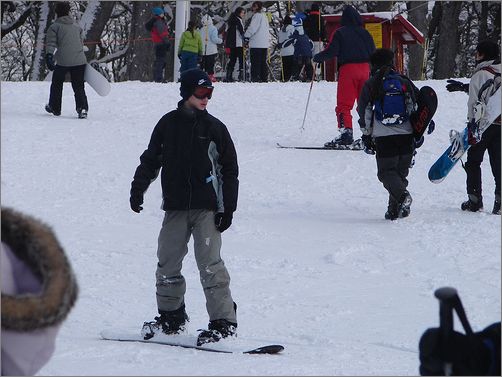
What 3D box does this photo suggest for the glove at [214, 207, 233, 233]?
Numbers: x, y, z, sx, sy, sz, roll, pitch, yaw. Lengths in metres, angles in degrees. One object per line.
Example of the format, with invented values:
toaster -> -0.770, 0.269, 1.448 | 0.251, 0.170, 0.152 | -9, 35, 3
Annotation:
glove -> -0.173, 0.204, 4.030 | 0.052, 0.132, 0.100 | 12, -6, -18

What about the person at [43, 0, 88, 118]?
person -> -3.238, -2.258, 11.046 | 0.734, 2.021, 0.556 | -2, 11, -16

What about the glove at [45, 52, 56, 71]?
glove -> -3.443, -2.189, 10.888 | 0.134, 0.299, 0.306 | -2, 12, -17

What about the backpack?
backpack -> 1.673, -1.030, 7.215 | 0.586, 0.595, 0.440 | -6, 20, -3

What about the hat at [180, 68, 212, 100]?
hat -> -0.386, -0.686, 4.210 | 0.214, 0.181, 0.161 | -2, -12, -12

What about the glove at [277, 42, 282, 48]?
glove -> 0.758, -3.604, 15.833 | 0.041, 0.162, 0.172 | 4, 1, -31

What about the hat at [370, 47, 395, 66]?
hat -> 1.535, -1.510, 7.346 | 0.216, 0.218, 0.220 | 1, 5, 18

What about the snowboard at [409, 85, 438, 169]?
snowboard -> 1.889, -0.767, 6.969 | 0.195, 0.179, 1.015 | 27, 47, 12

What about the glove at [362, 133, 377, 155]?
glove -> 1.379, -0.531, 7.466 | 0.164, 0.225, 0.090 | -8, 11, -14

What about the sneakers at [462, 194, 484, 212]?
sneakers -> 2.573, 0.153, 7.348 | 0.115, 0.218, 0.303 | -10, 17, -24

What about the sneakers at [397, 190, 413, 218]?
sneakers -> 1.729, 0.177, 7.083 | 0.128, 0.322, 0.139 | -4, 41, -7

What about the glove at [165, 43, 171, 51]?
glove -> -1.966, -3.431, 15.234 | 0.154, 0.168, 0.144 | 0, 8, 0

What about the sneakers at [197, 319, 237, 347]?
sneakers -> -0.196, 0.905, 3.934 | 0.130, 0.182, 0.384 | -18, -13, 18

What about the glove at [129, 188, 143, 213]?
glove -> -0.720, 0.084, 4.003 | 0.050, 0.152, 0.106 | 11, 6, -21

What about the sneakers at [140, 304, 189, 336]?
sneakers -> -0.582, 0.871, 4.092 | 0.147, 0.092, 0.204 | 41, -25, -30

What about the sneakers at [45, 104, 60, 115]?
sneakers -> -3.504, -1.385, 11.120 | 0.341, 0.170, 0.128 | 12, 14, 24

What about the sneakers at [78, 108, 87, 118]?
sneakers -> -2.937, -1.332, 11.079 | 0.125, 0.146, 0.158 | 0, -1, -44

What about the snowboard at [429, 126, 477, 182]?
snowboard -> 2.460, -0.391, 7.780 | 0.168, 0.266, 0.962 | -14, -26, -25

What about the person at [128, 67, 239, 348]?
person -> -0.396, 0.086, 4.025 | 0.738, 1.660, 0.707 | 4, 11, 11

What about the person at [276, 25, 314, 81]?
person -> 1.148, -3.232, 15.117 | 0.702, 1.288, 1.260 | 2, 11, 3

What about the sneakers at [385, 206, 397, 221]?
sneakers -> 1.592, 0.274, 7.153 | 0.072, 0.175, 0.215 | -3, 12, -24
